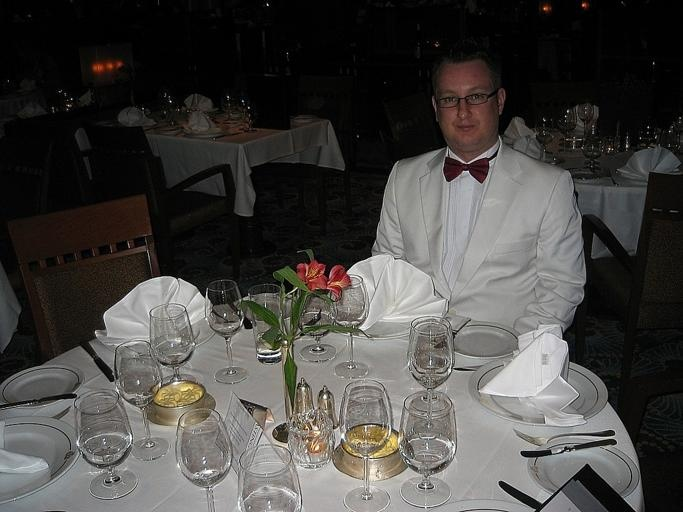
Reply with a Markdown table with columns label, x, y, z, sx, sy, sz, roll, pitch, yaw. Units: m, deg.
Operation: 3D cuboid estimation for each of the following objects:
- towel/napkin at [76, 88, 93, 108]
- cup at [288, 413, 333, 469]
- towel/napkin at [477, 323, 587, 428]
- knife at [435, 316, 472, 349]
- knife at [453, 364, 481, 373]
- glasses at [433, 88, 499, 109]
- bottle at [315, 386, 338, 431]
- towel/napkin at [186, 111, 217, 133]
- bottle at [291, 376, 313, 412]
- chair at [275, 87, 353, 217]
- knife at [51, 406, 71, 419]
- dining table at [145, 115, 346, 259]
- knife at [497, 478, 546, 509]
| label | x | y | z | sx | sy | sz | roll | pitch | yaw |
| --- | --- | --- | --- | --- | --- | --- | --- | --- | --- |
| towel/napkin | -2.853 | -1.739 | 5.378 | 0.175 | 0.152 | 0.355 | -15 | 17 | -34 |
| cup | -0.078 | 0.420 | 1.132 | 0.107 | 0.118 | 0.115 | -1 | -1 | 0 |
| towel/napkin | 0.497 | 0.323 | 1.287 | 0.198 | 0.098 | 0.289 | -6 | 44 | 8 |
| knife | 0.367 | 0.227 | 1.618 | 0.083 | 0.116 | 0.037 | 24 | 24 | -3 |
| knife | 0.368 | 0.334 | 1.465 | 0.050 | 0.013 | 0.054 | 0 | 1 | 3 |
| glasses | 0.515 | -0.660 | 2.069 | 0.249 | 0.057 | 0.090 | -2 | 15 | 12 |
| bottle | -0.045 | 0.382 | 1.259 | 0.059 | 0.114 | 0.060 | -4 | 19 | 1 |
| towel/napkin | -1.272 | -1.169 | 4.325 | 0.183 | 0.111 | 0.258 | 0 | 26 | -9 |
| bottle | -0.107 | 0.347 | 1.228 | 0.044 | 0.109 | 0.048 | 3 | 37 | -2 |
| chair | -0.253 | -1.252 | 5.155 | 0.827 | 1.588 | 0.922 | 2 | -4 | -7 |
| knife | -0.781 | 0.432 | 1.349 | 0.026 | 0.033 | 0.024 | 41 | 31 | 16 |
| dining table | -0.830 | -0.879 | 4.601 | 1.356 | 0.746 | 1.214 | 16 | 42 | 24 |
| knife | 0.374 | 0.510 | 1.054 | 0.029 | 0.014 | 0.123 | -37 | 38 | -27 |
